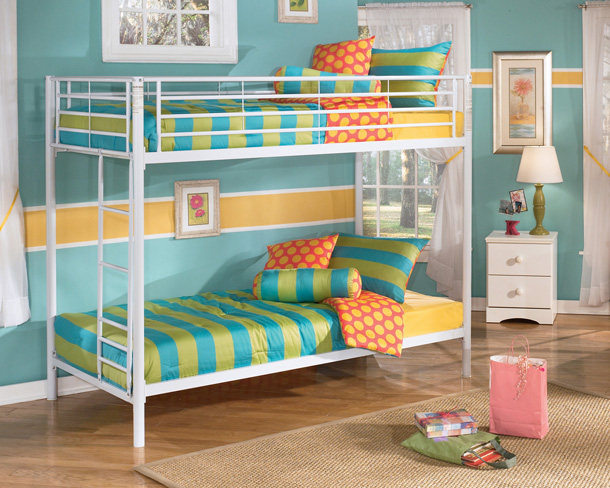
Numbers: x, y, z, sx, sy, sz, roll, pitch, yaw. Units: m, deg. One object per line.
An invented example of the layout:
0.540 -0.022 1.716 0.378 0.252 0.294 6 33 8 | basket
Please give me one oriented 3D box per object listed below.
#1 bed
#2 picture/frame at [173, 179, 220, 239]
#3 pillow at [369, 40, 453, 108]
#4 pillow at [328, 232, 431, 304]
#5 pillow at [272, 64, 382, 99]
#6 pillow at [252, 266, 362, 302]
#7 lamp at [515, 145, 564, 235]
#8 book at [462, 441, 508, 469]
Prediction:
0.143 0.223 4.034 2.009 1.294 0.904 -14 -6 22 | bed
-0.802 -0.268 4.277 0.519 0.499 0.042 -3 5 -34 | picture/frame
0.865 -1.260 4.353 0.305 0.431 0.573 -19 21 -17 | pillow
0.453 0.107 4.158 0.602 0.594 0.142 8 -29 -4 | pillow
0.158 -1.044 3.799 0.448 0.109 0.401 1 10 -4 | pillow
0.029 0.278 3.910 0.732 0.207 0.212 -1 -4 -3 | pillow
2.231 -0.517 5.554 0.383 0.849 0.499 1 7 19 | lamp
0.907 1.045 2.869 0.245 0.070 0.127 -5 8 -36 | book
